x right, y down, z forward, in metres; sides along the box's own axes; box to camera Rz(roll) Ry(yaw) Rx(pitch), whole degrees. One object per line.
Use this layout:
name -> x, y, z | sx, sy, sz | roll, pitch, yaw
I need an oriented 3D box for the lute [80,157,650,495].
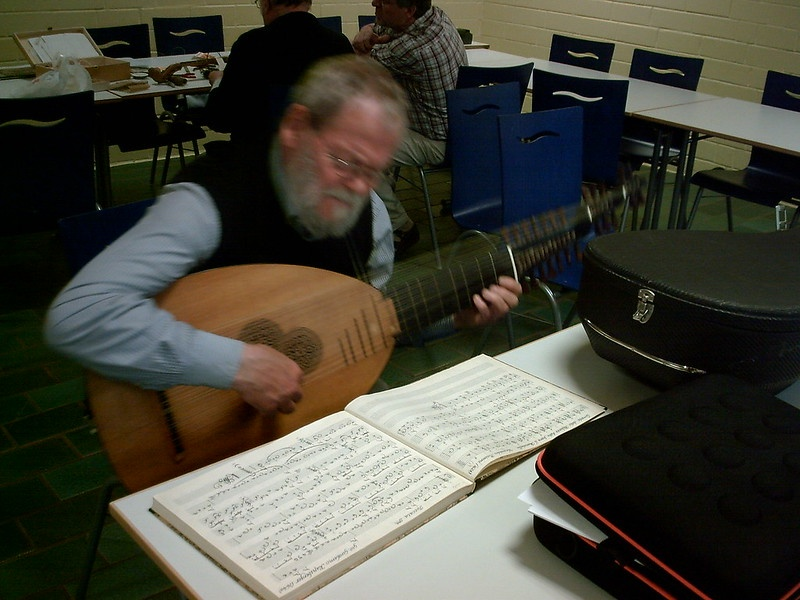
lute -> -0.100, 0.058, 1.096 | 1.315, 0.126, 0.374 | -18, 73, -19
